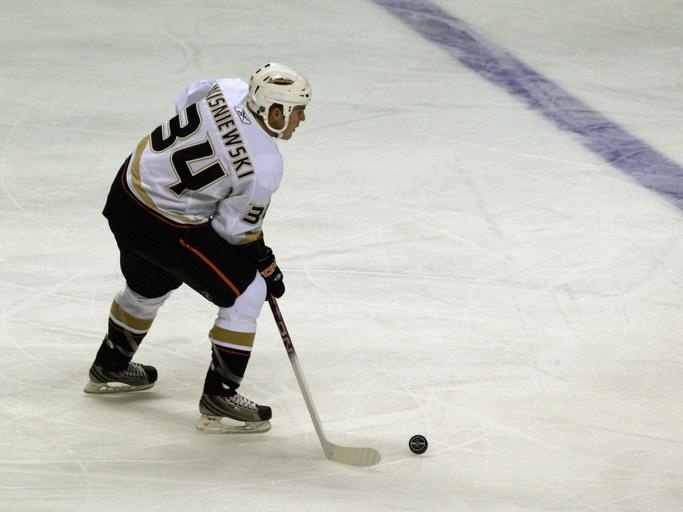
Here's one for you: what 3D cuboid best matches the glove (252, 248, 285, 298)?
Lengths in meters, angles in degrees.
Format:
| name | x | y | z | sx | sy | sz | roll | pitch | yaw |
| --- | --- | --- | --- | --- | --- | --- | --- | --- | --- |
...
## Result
| name | x | y | z | sx | sy | sz | roll | pitch | yaw |
| --- | --- | --- | --- | --- | --- | --- | --- | --- | --- |
| glove | -0.296 | 0.064 | 3.526 | 0.092 | 0.198 | 0.075 | -19 | 8 | 27 |

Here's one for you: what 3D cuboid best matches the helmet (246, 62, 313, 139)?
| name | x | y | z | sx | sy | sz | roll | pitch | yaw |
| --- | --- | --- | --- | --- | --- | --- | --- | --- | --- |
| helmet | -0.274 | -0.637 | 3.399 | 0.230 | 0.309 | 0.193 | 24 | 23 | 13 |

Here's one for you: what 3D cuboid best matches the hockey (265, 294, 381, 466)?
| name | x | y | z | sx | sy | sz | roll | pitch | yaw |
| --- | --- | --- | --- | --- | --- | --- | --- | --- | --- |
| hockey | -0.084 | 0.593 | 3.769 | 0.202 | 0.025 | 1.052 | -13 | 27 | -15 |
